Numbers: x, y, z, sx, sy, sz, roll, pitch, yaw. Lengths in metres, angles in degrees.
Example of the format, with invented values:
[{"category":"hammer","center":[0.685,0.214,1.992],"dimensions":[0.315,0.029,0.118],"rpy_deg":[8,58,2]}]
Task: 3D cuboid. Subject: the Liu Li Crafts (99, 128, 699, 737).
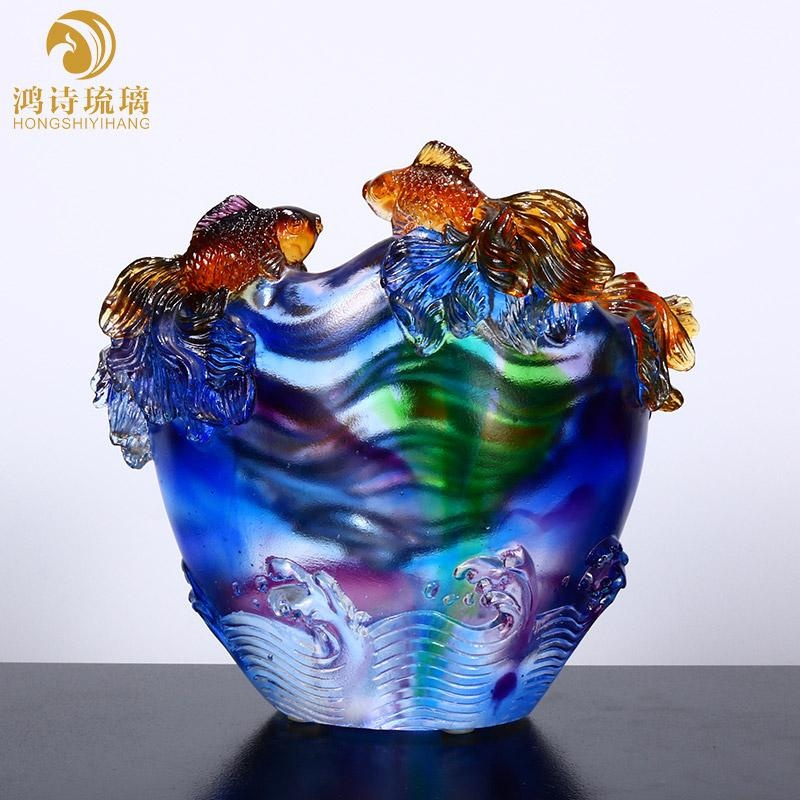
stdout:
[{"category":"Liu Li Crafts","center":[0.002,0.066,1.380],"dimensions":[0.549,0.439,0.552],"rpy_deg":[-2,-6,6]}]
